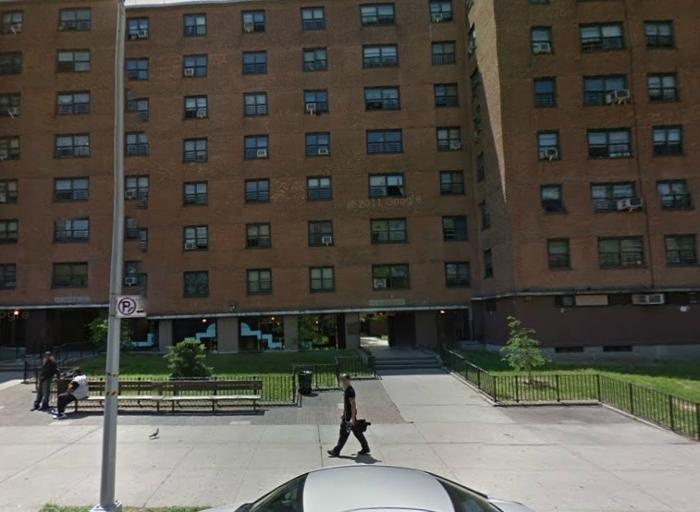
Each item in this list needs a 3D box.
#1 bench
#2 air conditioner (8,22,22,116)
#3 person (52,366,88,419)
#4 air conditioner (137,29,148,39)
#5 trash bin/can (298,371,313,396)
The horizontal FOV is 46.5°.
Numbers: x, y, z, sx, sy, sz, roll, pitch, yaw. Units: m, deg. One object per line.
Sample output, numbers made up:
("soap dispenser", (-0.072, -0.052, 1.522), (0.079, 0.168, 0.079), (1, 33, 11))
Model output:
("bench", (-8.469, 7.831, 41.180), (9.047, 1.568, 1.664), (-1, -12, -1))
("air conditioner", (-24.396, -13.277, 58.997), (0.973, 6.328, 2.381), (-4, 15, -16))
("person", (-13.758, 6.816, 40.465), (1.541, 2.320, 1.125), (4, -9, 4))
("air conditioner", (-14.906, -16.035, 58.888), (0.830, 0.694, 0.405), (0, 2, -5))
("trash bin/can", (-2.320, 6.759, 43.321), (0.734, 1.109, 1.185), (-1, 14, -4))
